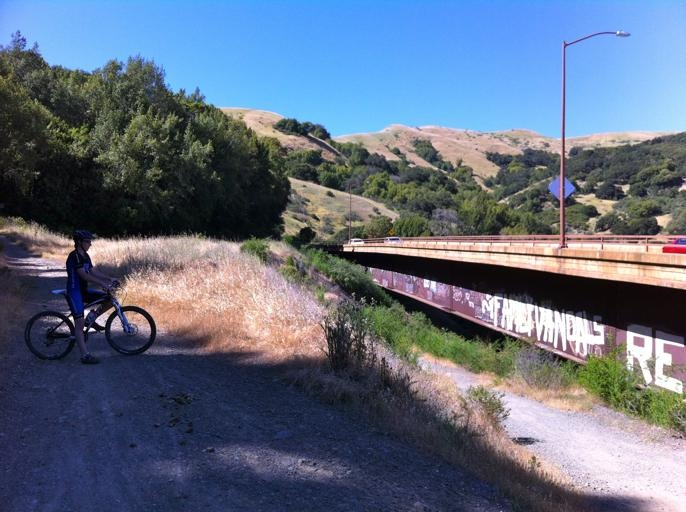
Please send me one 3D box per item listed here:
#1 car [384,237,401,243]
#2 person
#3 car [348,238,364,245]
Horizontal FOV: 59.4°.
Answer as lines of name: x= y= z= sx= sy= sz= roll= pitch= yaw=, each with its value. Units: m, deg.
car: x=5.304 y=-1.888 z=64.228 sx=1.486 sy=0.969 sz=1.044 roll=-1 pitch=5 yaw=19
person: x=-6.630 y=1.007 z=15.792 sx=1.077 sy=3.459 sz=0.672 roll=-1 pitch=6 yaw=-30
car: x=1.561 y=-2.045 z=77.027 sx=1.677 sy=1.095 sz=1.089 roll=-5 pitch=9 yaw=-17
